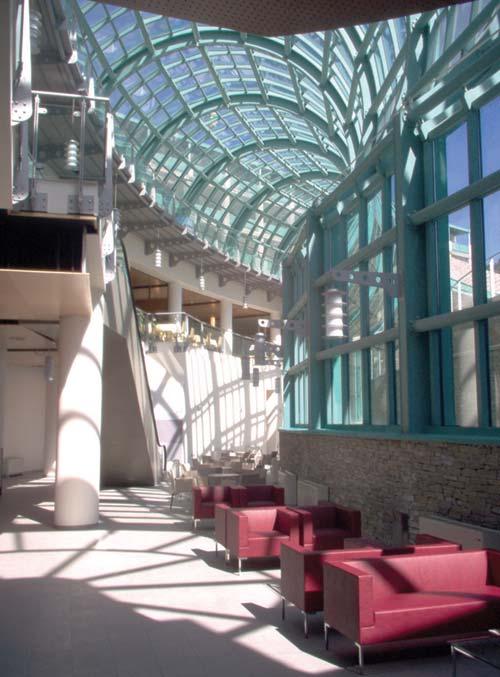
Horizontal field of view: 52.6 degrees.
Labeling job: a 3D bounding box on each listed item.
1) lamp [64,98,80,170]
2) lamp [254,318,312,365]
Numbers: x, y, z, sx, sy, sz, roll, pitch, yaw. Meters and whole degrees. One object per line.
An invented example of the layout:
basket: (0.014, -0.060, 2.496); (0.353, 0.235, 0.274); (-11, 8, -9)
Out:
lamp: (-2.170, -2.486, 6.204); (0.096, 0.863, 0.217); (-3, -9, 18)
lamp: (0.982, 0.099, 14.745); (1.961, 0.885, 2.173); (0, -10, -10)
